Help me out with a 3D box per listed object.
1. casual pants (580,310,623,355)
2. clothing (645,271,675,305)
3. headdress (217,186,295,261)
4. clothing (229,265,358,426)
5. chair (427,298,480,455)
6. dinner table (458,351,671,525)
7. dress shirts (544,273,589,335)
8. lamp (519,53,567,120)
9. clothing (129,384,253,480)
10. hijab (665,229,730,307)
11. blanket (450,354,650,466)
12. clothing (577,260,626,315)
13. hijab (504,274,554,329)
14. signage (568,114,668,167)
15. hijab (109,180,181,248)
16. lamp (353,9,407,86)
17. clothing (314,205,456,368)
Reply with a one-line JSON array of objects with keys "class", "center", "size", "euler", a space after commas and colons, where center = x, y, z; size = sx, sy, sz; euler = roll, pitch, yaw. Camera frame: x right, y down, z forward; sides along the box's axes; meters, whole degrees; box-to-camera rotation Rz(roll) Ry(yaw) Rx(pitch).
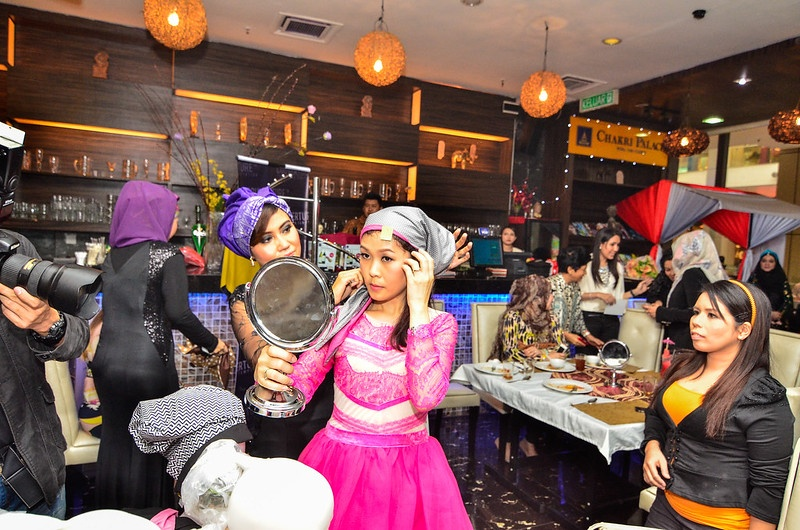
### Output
[{"class": "casual pants", "center": [1.789, 0.598, 4.693], "size": [0.418, 0.213, 0.097], "euler": [1, 2, -14]}, {"class": "clothing", "center": [2.578, 0.231, 5.205], "size": [0.115, 0.300, 0.236], "euler": [13, -7, -3]}, {"class": "headdress", "center": [-0.661, -0.184, 2.310], "size": [0.308, 0.296, 0.189], "euler": [9, 11, 36]}, {"class": "clothing", "center": [-0.302, 0.201, 1.762], "size": [0.257, 0.476, 0.507], "euler": [8, 11, 32]}, {"class": "chair", "center": [0.455, 1.045, 4.577], "size": [0.397, 0.991, 0.380], "euler": [-3, -2, 5]}, {"class": "dinner table", "center": [1.157, 1.309, 3.669], "size": [1.112, 0.471, 1.272], "euler": [1, 4, -29]}, {"class": "dress shirts", "center": [1.446, 0.348, 4.585], "size": [0.295, 0.566, 0.440], "euler": [-13, 1, 40]}, {"class": "lamp", "center": [1.652, -1.983, 5.930], "size": [0.510, 0.668, 0.485], "euler": [-13, 26, -34]}, {"class": "clothing", "center": [-0.669, 0.506, 1.671], "size": [0.355, 0.181, 0.290], "euler": [4, -6, -1]}, {"class": "hijab", "center": [2.492, 0.054, 4.573], "size": [0.608, 0.769, 0.700], "euler": [-1, 5, 27]}, {"class": "blanket", "center": [1.185, 0.767, 3.246], "size": [0.894, 0.102, 0.854], "euler": [-22, 13, -37]}, {"class": "clothing", "center": [1.980, 0.226, 5.212], "size": [0.502, 0.475, 0.283], "euler": [2, -10, -15]}, {"class": "hijab", "center": [0.971, 0.285, 4.126], "size": [0.416, 0.445, 0.420], "euler": [1, 2, -9]}, {"class": "signage", "center": [3.645, -2.021, 8.694], "size": [2.174, 0.655, 0.304], "euler": [-2, 11, -31]}, {"class": "hijab", "center": [-1.444, -0.293, 2.958], "size": [0.352, 0.360, 0.369], "euler": [-2, 5, -14]}, {"class": "lamp", "center": [-0.220, -2.103, 5.287], "size": [0.485, 0.516, 0.352], "euler": [10, 11, 37]}, {"class": "clothing", "center": [0.018, -0.004, 1.834], "size": [0.391, 0.162, 0.645], "euler": [-3, 46, 8]}]
